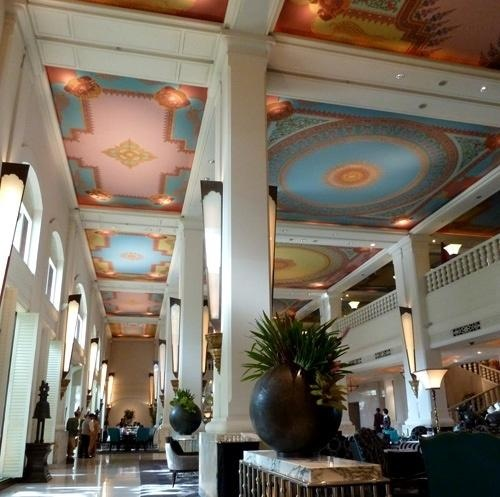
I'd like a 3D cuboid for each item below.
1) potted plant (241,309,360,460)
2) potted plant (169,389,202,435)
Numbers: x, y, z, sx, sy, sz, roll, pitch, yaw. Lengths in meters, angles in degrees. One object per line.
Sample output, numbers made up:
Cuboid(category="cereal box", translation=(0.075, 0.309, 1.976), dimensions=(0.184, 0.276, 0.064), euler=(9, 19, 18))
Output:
Cuboid(category="potted plant", translation=(0.216, 0.650, 1.958), dimensions=(0.489, 0.661, 0.283), euler=(-6, -25, 12))
Cuboid(category="potted plant", translation=(-1.489, 3.869, 9.579), dimensions=(1.032, 1.207, 0.956), euler=(0, -20, -5))
